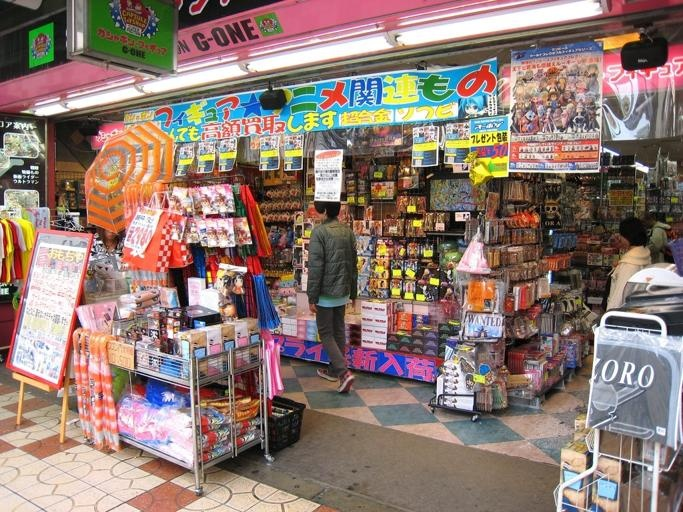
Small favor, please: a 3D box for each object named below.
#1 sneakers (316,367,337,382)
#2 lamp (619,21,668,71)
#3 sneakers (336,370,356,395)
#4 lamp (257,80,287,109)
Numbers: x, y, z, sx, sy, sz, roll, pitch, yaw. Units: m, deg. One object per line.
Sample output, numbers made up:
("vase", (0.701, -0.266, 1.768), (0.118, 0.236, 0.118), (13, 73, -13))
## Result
("sneakers", (-0.183, 1.391, 6.135), (0.117, 0.126, 0.297), (-4, 12, -43))
("lamp", (2.404, -1.659, 4.043), (0.345, 0.338, 0.128), (6, 13, 33))
("sneakers", (0.050, 1.419, 5.713), (0.118, 0.135, 0.313), (-11, -33, -33))
("lamp", (-0.760, -1.773, 5.552), (0.231, 0.288, 0.307), (-18, 29, -19))
